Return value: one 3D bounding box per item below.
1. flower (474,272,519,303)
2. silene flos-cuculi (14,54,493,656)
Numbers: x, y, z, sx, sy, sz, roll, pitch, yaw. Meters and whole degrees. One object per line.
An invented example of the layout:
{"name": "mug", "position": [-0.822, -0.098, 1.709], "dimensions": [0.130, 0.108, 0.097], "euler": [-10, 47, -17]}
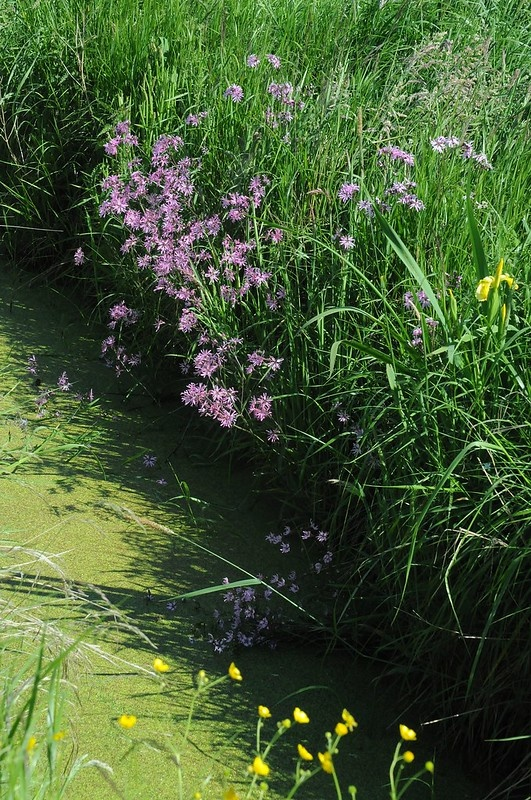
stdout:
{"name": "flower", "position": [0.493, -0.258, 1.616], "dimensions": [0.085, 0.049, 0.085], "euler": [-27, 10, -41]}
{"name": "silene flos-cuculi", "position": [0.104, -0.159, 2.449], "dimensions": [1.593, 1.545, 0.685], "euler": [7, -7, 4]}
